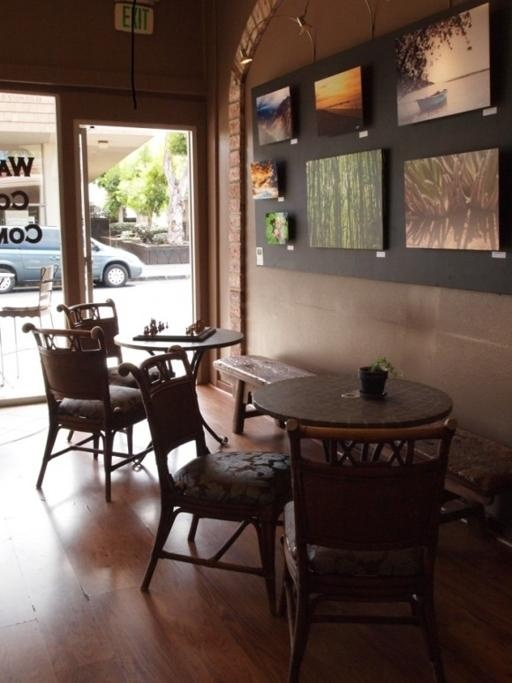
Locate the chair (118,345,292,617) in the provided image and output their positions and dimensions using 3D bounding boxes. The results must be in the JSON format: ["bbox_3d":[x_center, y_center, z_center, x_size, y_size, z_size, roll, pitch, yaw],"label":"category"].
[{"bbox_3d":[-0.139,0.438,1.917,0.593,0.778,0.528,0,6,5],"label":"chair"}]

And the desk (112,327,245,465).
[{"bbox_3d":[-0.423,0.238,3.452,0.734,0.723,0.802,3,9,22],"label":"desk"}]

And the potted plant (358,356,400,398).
[{"bbox_3d":[0.467,0.125,2.013,0.135,0.121,0.164,2,6,-1],"label":"potted plant"}]
